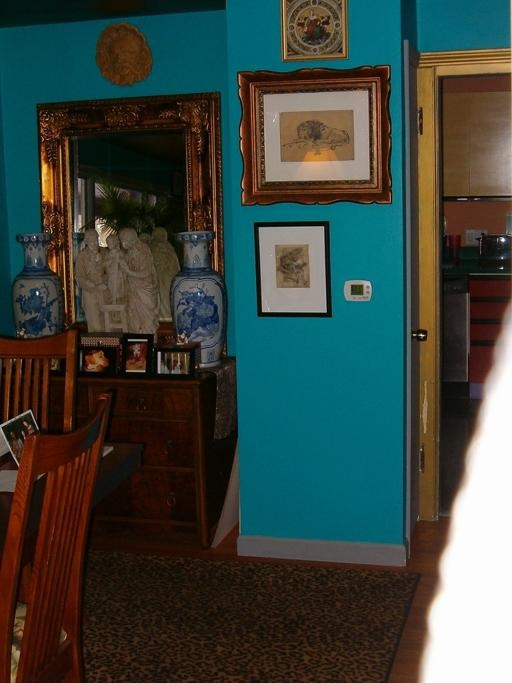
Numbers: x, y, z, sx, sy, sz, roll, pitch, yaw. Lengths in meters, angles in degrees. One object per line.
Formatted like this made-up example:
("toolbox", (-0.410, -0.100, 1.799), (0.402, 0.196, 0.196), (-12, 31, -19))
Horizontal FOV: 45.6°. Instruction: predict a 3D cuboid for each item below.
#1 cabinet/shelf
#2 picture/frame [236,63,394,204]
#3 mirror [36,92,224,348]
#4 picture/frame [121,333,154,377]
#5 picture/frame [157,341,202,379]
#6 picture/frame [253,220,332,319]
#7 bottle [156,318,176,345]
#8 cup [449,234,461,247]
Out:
("cabinet/shelf", (-0.491, 0.524, 3.532), (1.172, 1.207, 0.812), (0, 3, 8))
("picture/frame", (0.292, -0.954, 2.737), (0.632, 0.579, 0.032), (0, 4, 7))
("mirror", (-0.690, -0.724, 3.530), (1.471, 1.925, 0.089), (0, 2, 9))
("picture/frame", (-0.627, 0.080, 3.228), (0.208, 0.288, 0.028), (0, -7, 3))
("picture/frame", (-0.413, 0.094, 3.152), (0.167, 0.118, 0.181), (1, 4, 6))
("picture/frame", (0.185, -0.355, 2.849), (0.438, 0.549, 0.035), (1, 12, 10))
("bottle", (-0.529, -0.052, 3.584), (0.146, 0.145, 0.077), (0, -2, 4))
("cup", (2.067, -1.050, 6.308), (0.113, 0.132, 0.121), (0, 6, 0))
